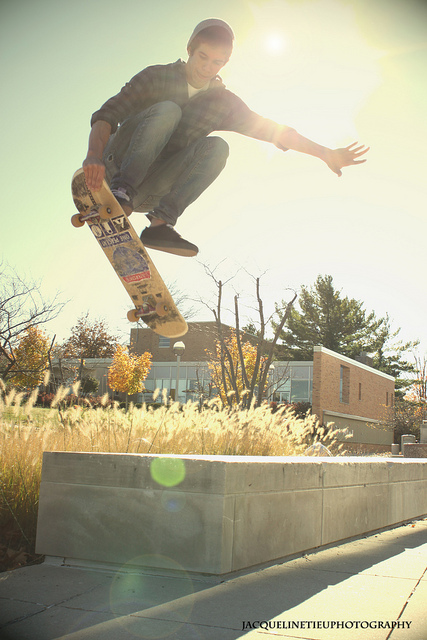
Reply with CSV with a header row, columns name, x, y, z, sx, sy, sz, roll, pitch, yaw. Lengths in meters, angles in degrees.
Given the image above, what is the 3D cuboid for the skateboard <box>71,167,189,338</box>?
name,x,y,z,sx,sy,sz,roll,pitch,yaw
skateboard,-0.507,-0.571,3.434,0.342,1.382,0.199,-26,22,31
